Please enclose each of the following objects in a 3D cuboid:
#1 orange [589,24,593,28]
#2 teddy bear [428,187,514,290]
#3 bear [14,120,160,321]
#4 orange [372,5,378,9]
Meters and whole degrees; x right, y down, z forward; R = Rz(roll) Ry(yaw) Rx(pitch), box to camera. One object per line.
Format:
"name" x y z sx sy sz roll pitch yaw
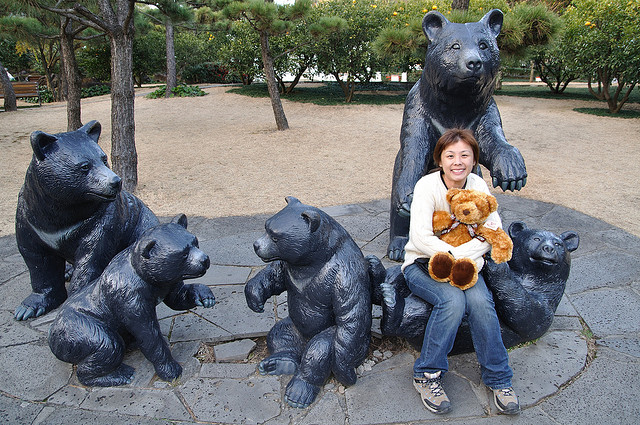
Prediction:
"orange" 7.907 -5.375 15.147 0.090 0.085 0.236 7 21 20
"teddy bear" 1.143 0.155 4.136 0.772 0.803 0.325 10 -23 16
"bear" -2.465 -0.023 4.934 1.119 1.610 1.595 -8 18 -42
"orange" 2.024 -7.511 19.224 0.203 0.193 0.088 16 -21 26
